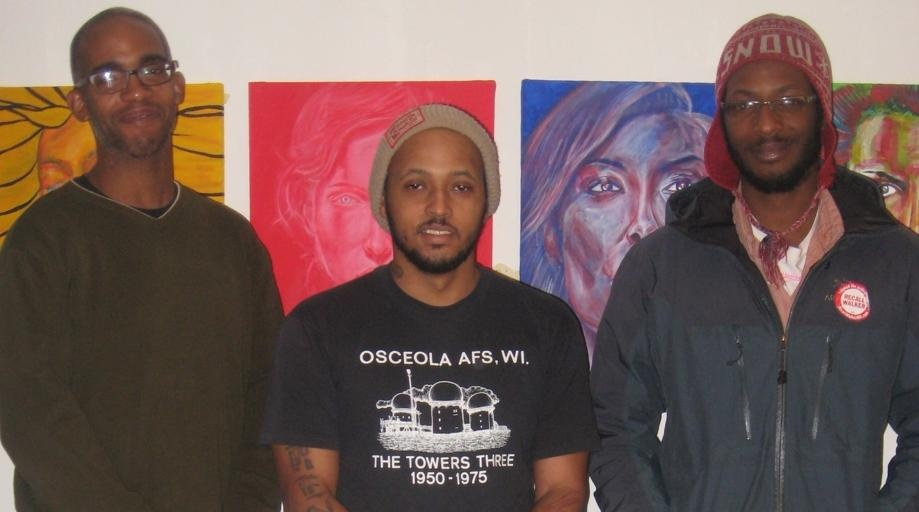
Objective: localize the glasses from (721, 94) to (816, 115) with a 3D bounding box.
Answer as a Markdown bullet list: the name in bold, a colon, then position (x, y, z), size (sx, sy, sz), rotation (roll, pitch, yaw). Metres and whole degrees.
- **glasses**: position (1.407, -0.680, 4.936), size (0.413, 0.073, 0.081), rotation (-2, 1, 3)
